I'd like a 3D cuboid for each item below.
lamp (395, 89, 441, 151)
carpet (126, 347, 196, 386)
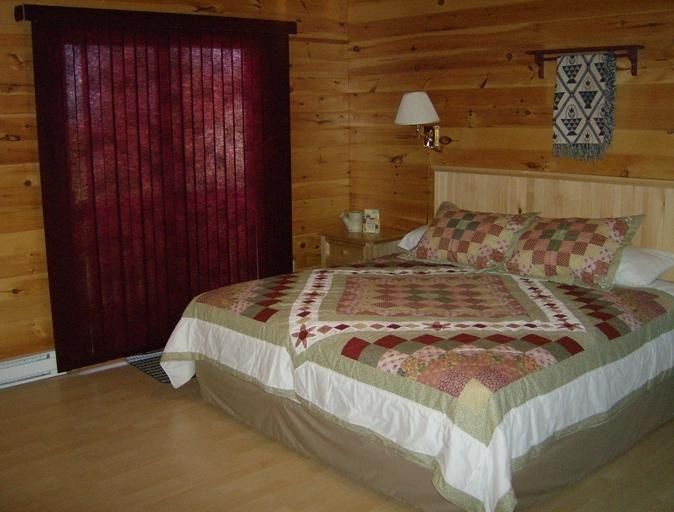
[{"bbox_3d":[0.693,-1.133,4.610,0.371,0.478,0.599,2,14,8],"label":"lamp"},{"bbox_3d":[-1.397,0.809,4.126,0.513,0.018,0.296,8,13,40],"label":"carpet"}]
